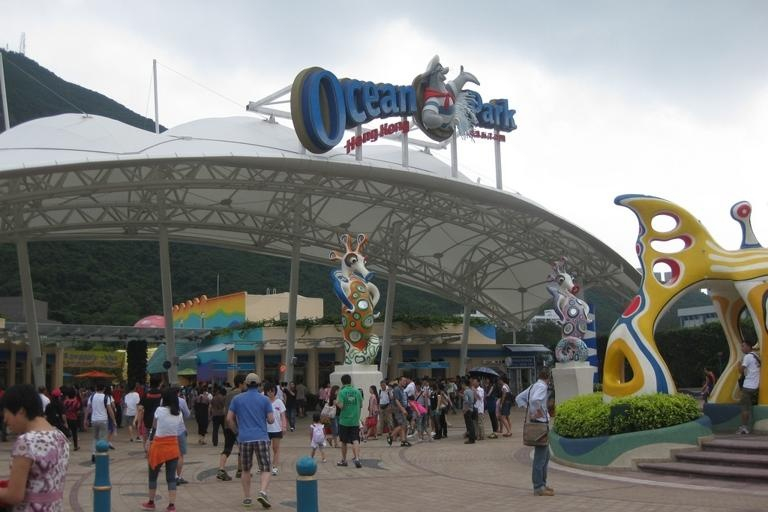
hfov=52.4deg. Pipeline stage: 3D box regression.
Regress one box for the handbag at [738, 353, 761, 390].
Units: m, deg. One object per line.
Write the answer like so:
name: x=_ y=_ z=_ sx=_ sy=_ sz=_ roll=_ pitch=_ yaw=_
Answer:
handbag: x=10.518 y=3.296 z=22.282 sx=0.510 sy=1.073 sz=0.518 roll=-5 pitch=-10 yaw=24

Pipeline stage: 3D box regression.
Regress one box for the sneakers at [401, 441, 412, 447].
sneakers: x=0.837 y=6.573 z=27.159 sx=0.431 sy=0.276 sz=0.155 roll=-4 pitch=-8 yaw=19

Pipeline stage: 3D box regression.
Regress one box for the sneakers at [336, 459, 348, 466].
sneakers: x=-1.217 y=6.013 z=22.528 sx=0.286 sy=0.179 sz=0.152 roll=1 pitch=-8 yaw=16

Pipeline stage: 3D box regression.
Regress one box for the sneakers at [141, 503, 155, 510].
sneakers: x=-5.483 y=5.794 z=18.033 sx=0.330 sy=0.143 sz=0.166 roll=2 pitch=-5 yaw=42

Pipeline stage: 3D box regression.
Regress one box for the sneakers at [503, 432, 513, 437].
sneakers: x=4.730 y=6.812 z=29.595 sx=0.390 sy=0.142 sz=0.132 roll=1 pitch=-8 yaw=22

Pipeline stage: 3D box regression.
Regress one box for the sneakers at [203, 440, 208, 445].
sneakers: x=-6.580 y=6.905 z=28.631 sx=0.101 sy=0.224 sz=0.265 roll=1 pitch=-27 yaw=-8

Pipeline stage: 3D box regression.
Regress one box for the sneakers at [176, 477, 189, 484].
sneakers: x=-5.362 y=5.867 z=20.305 sx=0.475 sy=0.188 sz=0.154 roll=2 pitch=-6 yaw=-4

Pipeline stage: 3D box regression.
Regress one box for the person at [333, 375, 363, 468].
person: x=-1.016 y=4.742 z=22.324 sx=0.700 sy=2.639 sz=0.802 roll=-1 pitch=-9 yaw=-2

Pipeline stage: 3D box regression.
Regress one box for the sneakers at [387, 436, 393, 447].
sneakers: x=0.200 y=6.555 z=27.400 sx=0.162 sy=0.390 sz=0.215 roll=-2 pitch=11 yaw=36

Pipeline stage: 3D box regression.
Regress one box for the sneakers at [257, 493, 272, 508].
sneakers: x=-2.734 y=5.664 z=17.906 sx=0.222 sy=0.216 sz=0.492 roll=-5 pitch=-35 yaw=7

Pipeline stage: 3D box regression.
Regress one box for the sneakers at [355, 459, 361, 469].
sneakers: x=-0.757 y=5.961 z=22.208 sx=0.141 sy=0.240 sz=0.166 roll=-24 pitch=0 yaw=-13

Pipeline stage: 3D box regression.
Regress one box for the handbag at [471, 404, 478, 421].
handbag: x=3.265 y=5.604 z=27.727 sx=0.114 sy=0.448 sz=0.327 roll=-7 pitch=4 yaw=28

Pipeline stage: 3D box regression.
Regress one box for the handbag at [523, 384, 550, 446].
handbag: x=3.628 y=3.857 z=18.669 sx=0.597 sy=1.440 sz=0.743 roll=-3 pitch=-9 yaw=9

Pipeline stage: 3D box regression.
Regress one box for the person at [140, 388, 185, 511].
person: x=-5.207 y=4.536 z=18.348 sx=0.847 sy=2.784 sz=1.397 roll=1 pitch=-9 yaw=-15

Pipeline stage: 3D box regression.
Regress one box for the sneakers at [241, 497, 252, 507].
sneakers: x=-3.184 y=5.737 z=18.172 sx=0.241 sy=0.197 sz=0.314 roll=1 pitch=-9 yaw=-13

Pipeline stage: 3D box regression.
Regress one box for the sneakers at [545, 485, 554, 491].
sneakers: x=3.968 y=5.578 z=18.634 sx=0.185 sy=0.124 sz=0.515 roll=-3 pitch=-9 yaw=12
